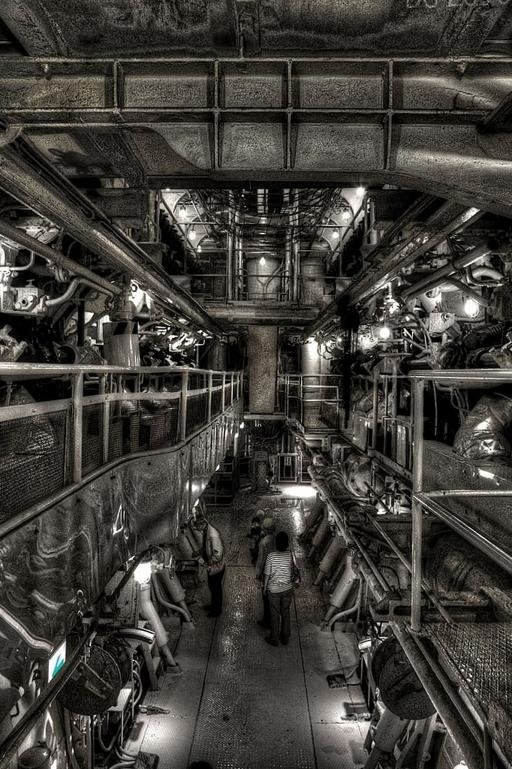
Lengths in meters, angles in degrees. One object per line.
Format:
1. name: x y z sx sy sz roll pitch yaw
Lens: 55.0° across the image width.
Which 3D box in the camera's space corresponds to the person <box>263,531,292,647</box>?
1. person: 0.351 3.213 8.028 0.501 0.543 1.973 -3 -77 -17
